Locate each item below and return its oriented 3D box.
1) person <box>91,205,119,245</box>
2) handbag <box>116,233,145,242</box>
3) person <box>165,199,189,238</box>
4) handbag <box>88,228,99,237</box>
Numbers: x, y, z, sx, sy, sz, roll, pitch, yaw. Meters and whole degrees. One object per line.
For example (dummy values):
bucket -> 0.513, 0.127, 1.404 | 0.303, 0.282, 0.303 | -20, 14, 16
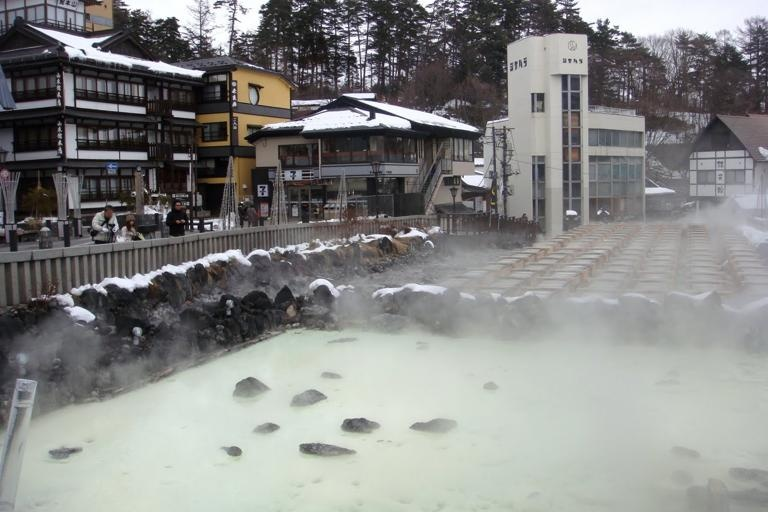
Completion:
person -> -8.380, -0.669, 18.420 | 0.719, 1.563, 0.635 | 30, 25, 36
handbag -> -7.729, -0.540, 18.698 | 0.382, 0.227, 0.528 | 4, -3, -44
person -> -6.501, -1.161, 19.249 | 0.596, 1.121, 2.038 | -3, 6, -20
handbag -> -8.734, -0.675, 18.486 | 0.323, 0.335, 0.363 | 3, -8, -34
